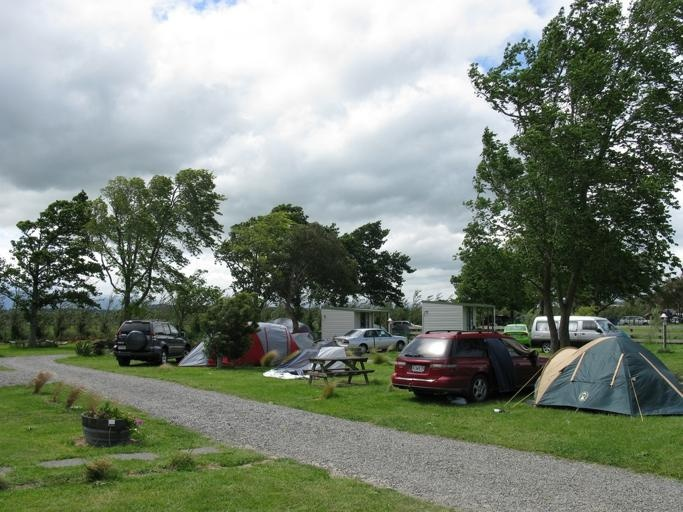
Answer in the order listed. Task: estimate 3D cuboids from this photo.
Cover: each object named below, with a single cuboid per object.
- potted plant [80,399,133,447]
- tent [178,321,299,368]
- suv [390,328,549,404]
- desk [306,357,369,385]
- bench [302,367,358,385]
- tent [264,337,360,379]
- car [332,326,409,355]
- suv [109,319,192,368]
[{"bbox_3d":[-4.778,3.433,12.034,1.042,0.879,0.504,1,-7,-15],"label":"potted plant"},{"bbox_3d":[-4.760,4.263,27.499,4.568,2.027,3.825,-1,-3,40],"label":"tent"},{"bbox_3d":[4.059,3.291,17.050,4.429,2.154,3.743,1,-2,-43],"label":"suv"},{"bbox_3d":[-0.204,3.955,20.558,1.498,0.683,1.273,4,-4,-38],"label":"desk"},{"bbox_3d":[-0.423,4.243,20.870,1.820,0.529,3.207,-1,-9,-5],"label":"bench"},{"bbox_3d":[-0.924,4.120,22.879,2.739,1.200,3.223,2,-2,40],"label":"tent"},{"bbox_3d":[1.924,5.070,35.455,3.519,1.486,4.344,-3,-5,27],"label":"car"},{"bbox_3d":[-8.587,3.950,27.396,1.681,1.442,3.337,-2,-3,18],"label":"suv"}]
